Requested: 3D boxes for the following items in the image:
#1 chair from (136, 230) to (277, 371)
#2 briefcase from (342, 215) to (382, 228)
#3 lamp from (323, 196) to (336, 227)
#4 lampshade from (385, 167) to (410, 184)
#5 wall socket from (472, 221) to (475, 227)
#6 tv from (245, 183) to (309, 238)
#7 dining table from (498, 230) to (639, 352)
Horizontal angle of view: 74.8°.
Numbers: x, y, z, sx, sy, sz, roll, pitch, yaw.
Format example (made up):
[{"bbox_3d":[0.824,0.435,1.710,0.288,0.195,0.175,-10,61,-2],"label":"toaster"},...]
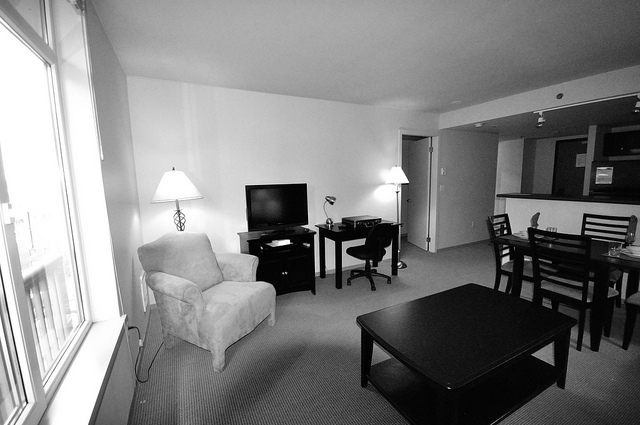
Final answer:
[{"bbox_3d":[-1.142,0.778,4.372,1.162,1.024,1.012,9,19,33],"label":"chair"},{"bbox_3d":[0.562,0.128,5.663,0.517,0.121,0.355,-2,7,3],"label":"briefcase"},{"bbox_3d":[0.122,-0.030,5.788,0.151,0.400,0.429,-3,8,0],"label":"lamp"},{"bbox_3d":[1.132,-0.540,6.085,0.249,0.162,0.230,0,7,25],"label":"lampshade"},{"bbox_3d":[2.743,0.201,7.496,0.050,0.104,0.003,-7,10,-28],"label":"wall socket"},{"bbox_3d":[-0.569,-0.026,5.240,0.685,0.486,0.190,-4,5,-28],"label":"tv"},{"bbox_3d":[2.650,0.709,4.426,1.112,0.973,1.338,-8,9,-42],"label":"dining table"}]
